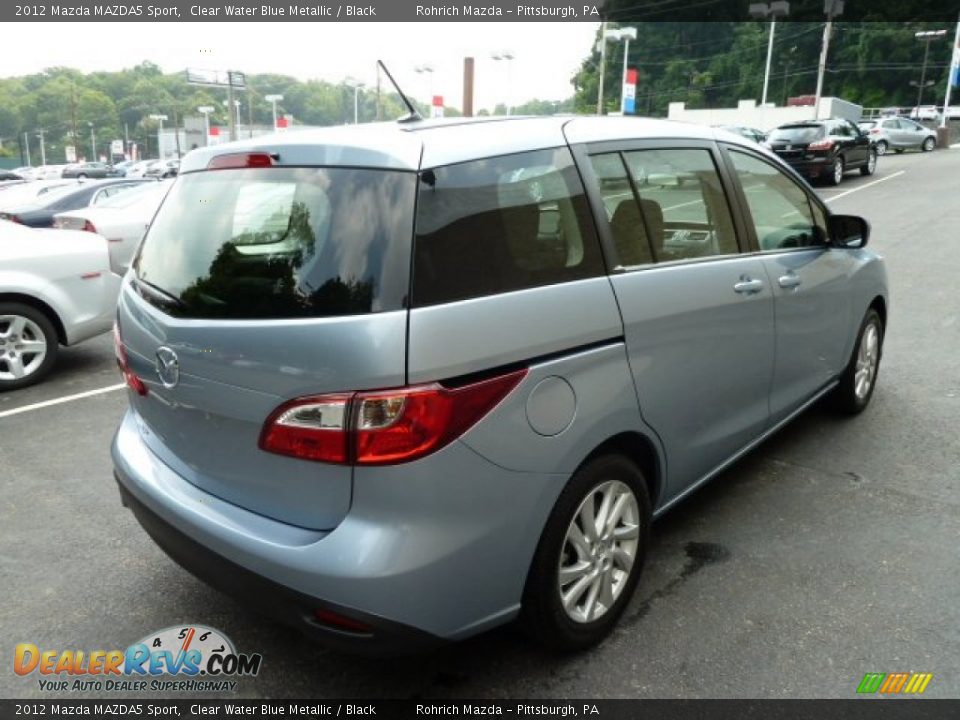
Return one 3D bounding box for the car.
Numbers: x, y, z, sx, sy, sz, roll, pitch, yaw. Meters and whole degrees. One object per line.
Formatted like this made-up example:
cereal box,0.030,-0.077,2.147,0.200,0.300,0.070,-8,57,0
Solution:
car,0.404,-0.368,3.333,1.932,1.453,3.818,14,28,42
